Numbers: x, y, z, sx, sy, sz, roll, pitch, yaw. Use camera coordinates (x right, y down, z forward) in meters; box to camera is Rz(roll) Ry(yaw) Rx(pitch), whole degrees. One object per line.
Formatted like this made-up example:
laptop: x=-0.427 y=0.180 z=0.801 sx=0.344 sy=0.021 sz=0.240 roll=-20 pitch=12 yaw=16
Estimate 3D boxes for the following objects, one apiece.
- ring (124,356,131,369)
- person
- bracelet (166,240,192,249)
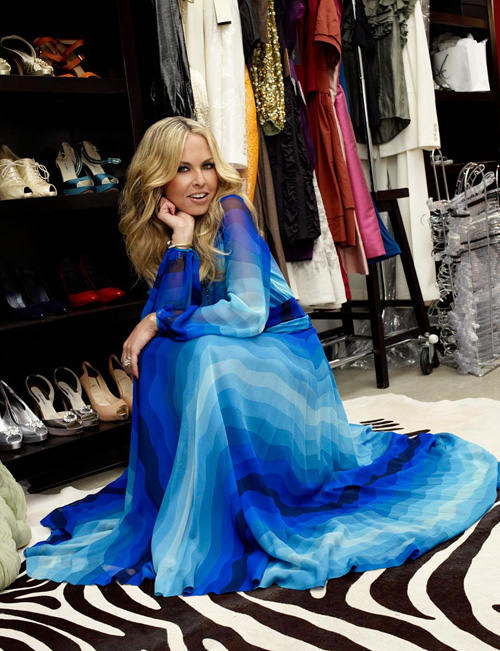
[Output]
ring: x=-0.312 y=0.096 z=1.388 sx=0.020 sy=0.026 sz=0.010 roll=-9 pitch=-21 yaw=38
person: x=-0.008 y=0.026 z=1.513 sx=1.240 sy=0.990 sz=1.134 roll=-9 pitch=6 yaw=-27
bracelet: x=-0.189 y=-0.218 z=1.479 sx=0.041 sy=0.015 sz=0.029 roll=-1 pitch=30 yaw=-9
